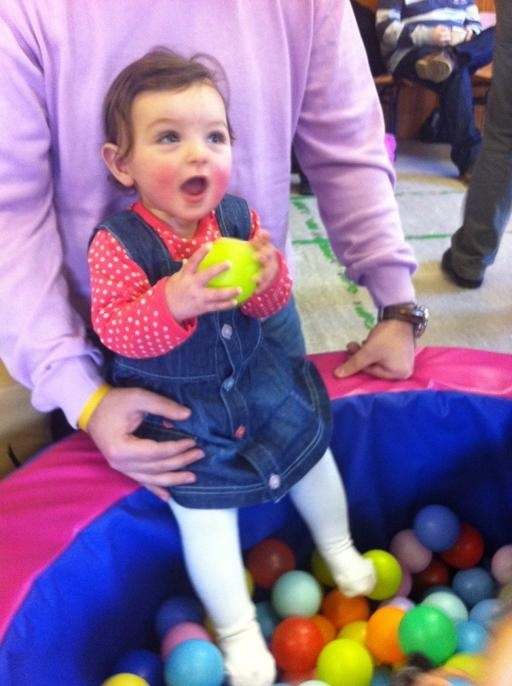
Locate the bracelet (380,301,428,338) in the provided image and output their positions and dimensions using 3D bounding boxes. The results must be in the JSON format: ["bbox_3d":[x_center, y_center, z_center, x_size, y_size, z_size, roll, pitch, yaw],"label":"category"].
[{"bbox_3d":[0.262,-0.048,0.999,0.081,0.050,0.082,8,-3,4],"label":"bracelet"}]
